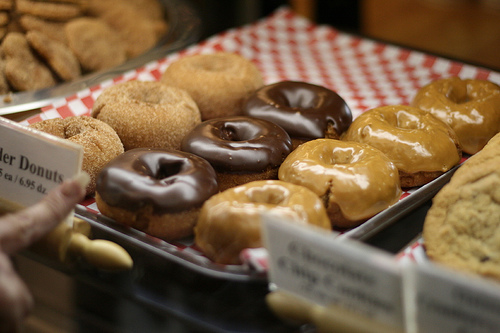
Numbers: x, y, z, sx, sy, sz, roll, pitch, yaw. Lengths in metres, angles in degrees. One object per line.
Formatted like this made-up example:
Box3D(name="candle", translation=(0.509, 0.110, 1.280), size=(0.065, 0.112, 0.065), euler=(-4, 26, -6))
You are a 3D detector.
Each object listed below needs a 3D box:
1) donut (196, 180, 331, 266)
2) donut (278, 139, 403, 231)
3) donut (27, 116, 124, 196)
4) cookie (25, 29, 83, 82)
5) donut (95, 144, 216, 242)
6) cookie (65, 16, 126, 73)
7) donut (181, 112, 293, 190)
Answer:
Box3D(name="donut", translation=(0.034, 0.100, 1.236), size=(0.250, 0.104, 0.244), euler=(-13, 24, -32))
Box3D(name="donut", translation=(0.266, 0.025, 1.428), size=(0.292, 0.136, 0.302), euler=(-25, 38, -37))
Box3D(name="donut", translation=(-0.527, -0.087, 1.524), size=(0.274, 0.092, 0.273), euler=(14, 27, 16))
Box3D(name="cookie", translation=(-0.786, -0.449, 1.949), size=(0.220, 0.067, 0.172), euler=(49, 29, -14))
Box3D(name="donut", translation=(-0.261, 0.070, 1.325), size=(0.294, 0.152, 0.289), euler=(29, 36, 27))
Box3D(name="cookie", translation=(-0.675, -0.535, 2.181), size=(0.315, 0.261, 0.207), euler=(20, 35, 36))
Box3D(name="donut", translation=(-0.024, -0.061, 1.491), size=(0.253, 0.102, 0.259), euler=(8, 27, 14))
